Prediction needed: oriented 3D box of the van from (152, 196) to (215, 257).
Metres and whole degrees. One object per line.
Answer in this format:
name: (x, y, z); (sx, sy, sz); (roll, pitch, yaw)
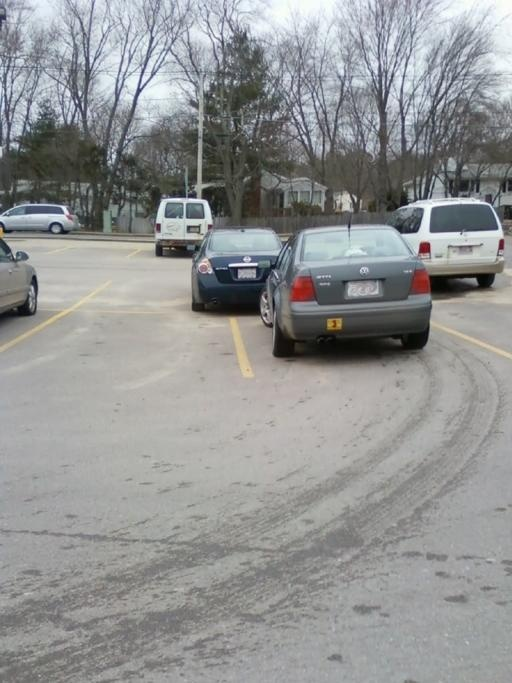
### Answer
van: (-3.381, -4.327, 27.666); (2.535, 3.054, 5.569); (0, -14, -6)

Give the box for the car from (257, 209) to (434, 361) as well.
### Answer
car: (1.038, -0.890, 7.768); (1.234, 1.072, 2.294); (-2, 17, -2)

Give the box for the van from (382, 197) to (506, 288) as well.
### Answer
van: (4.322, -2.609, 13.549); (1.459, 1.538, 2.979); (-2, 22, -2)
